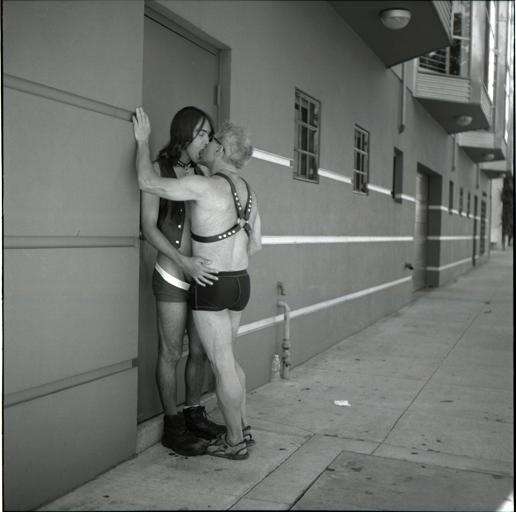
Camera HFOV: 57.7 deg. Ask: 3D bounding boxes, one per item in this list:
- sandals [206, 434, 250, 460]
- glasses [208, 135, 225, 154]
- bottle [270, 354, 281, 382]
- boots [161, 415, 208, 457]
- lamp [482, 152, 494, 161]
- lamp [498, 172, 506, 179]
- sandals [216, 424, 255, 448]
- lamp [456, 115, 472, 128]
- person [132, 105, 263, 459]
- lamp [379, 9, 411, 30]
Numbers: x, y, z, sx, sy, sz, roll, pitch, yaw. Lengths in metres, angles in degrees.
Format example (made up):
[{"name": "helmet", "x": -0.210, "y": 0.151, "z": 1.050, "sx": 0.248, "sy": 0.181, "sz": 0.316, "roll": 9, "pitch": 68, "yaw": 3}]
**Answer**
[{"name": "sandals", "x": -0.203, "y": 1.181, "z": 2.996, "sx": 0.236, "sy": 0.134, "sz": 0.131, "roll": 3, "pitch": -4, "yaw": 21}, {"name": "glasses", "x": -0.269, "y": -0.706, "z": 2.995, "sx": 0.031, "sy": 0.103, "sz": 0.109, "roll": -35, "pitch": -22, "yaw": -11}, {"name": "bottle", "x": 0.179, "y": 1.134, "z": 4.839, "sx": 0.105, "sy": 0.274, "sz": 0.317, "roll": 1, "pitch": 1, "yaw": 6}, {"name": "boots", "x": -0.502, "y": 1.148, "z": 3.055, "sx": 0.355, "sy": 0.299, "sz": 0.151, "roll": 4, "pitch": 1, "yaw": 29}, {"name": "lamp", "x": 8.995, "y": -3.852, "z": 18.268, "sx": 0.305, "sy": 0.186, "sz": 0.406, "roll": 1, "pitch": -6, "yaw": -1}, {"name": "lamp", "x": 13.079, "y": -4.336, "z": 25.099, "sx": 0.339, "sy": 0.118, "sz": 0.417, "roll": -2, "pitch": -2, "yaw": 5}, {"name": "sandals", "x": -0.173, "y": 1.203, "z": 3.123, "sx": 0.289, "sy": 0.169, "sz": 0.114, "roll": 1, "pitch": -4, "yaw": 11}, {"name": "lamp", "x": 5.247, "y": -3.477, "z": 12.011, "sx": 0.278, "sy": 0.133, "sz": 0.295, "roll": 0, "pitch": 2, "yaw": 35}, {"name": "person", "x": -0.334, "y": 0.207, "z": 2.997, "sx": 0.912, "sy": 2.162, "sz": 0.451, "roll": 1, "pitch": 2, "yaw": -26}, {"name": "lamp", "x": 1.725, "y": -2.983, "z": 5.904, "sx": 0.220, "sy": 0.105, "sz": 0.246, "roll": -2, "pitch": -4, "yaw": 24}]
